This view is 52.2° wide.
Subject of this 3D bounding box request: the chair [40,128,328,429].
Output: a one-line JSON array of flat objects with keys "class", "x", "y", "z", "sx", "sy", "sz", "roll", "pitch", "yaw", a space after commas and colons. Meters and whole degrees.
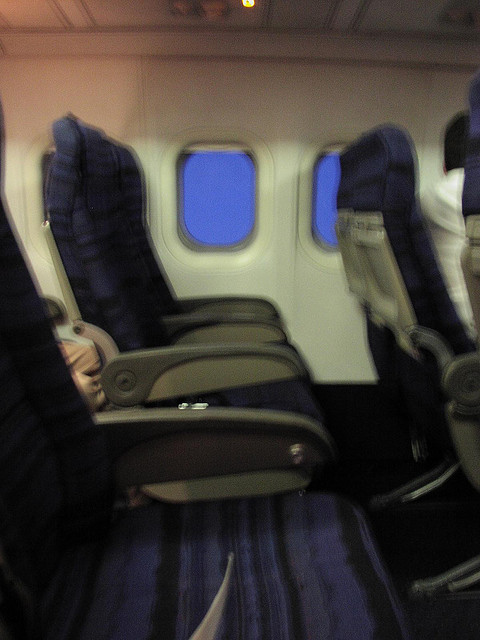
[{"class": "chair", "x": -0.117, "y": -0.104, "z": 1.398, "sx": 0.707, "sy": 0.629, "sz": 0.805, "roll": 3, "pitch": -75, "yaw": -1}]
